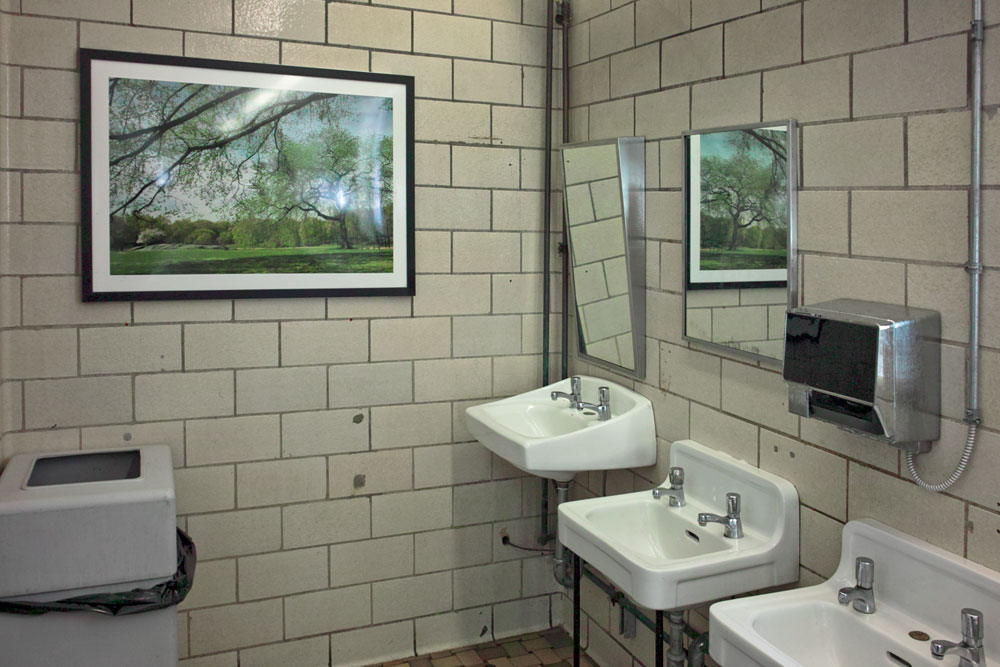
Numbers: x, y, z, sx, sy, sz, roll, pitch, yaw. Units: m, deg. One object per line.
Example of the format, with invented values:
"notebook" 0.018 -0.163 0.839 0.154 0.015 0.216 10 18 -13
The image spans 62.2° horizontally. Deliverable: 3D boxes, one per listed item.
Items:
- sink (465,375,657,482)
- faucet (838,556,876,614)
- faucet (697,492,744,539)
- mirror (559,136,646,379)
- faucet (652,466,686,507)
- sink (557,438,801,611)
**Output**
"sink" 0.249 0.454 3.781 0.639 0.423 0.812 -5 7 -16
"faucet" 1.110 0.793 2.597 0.135 0.166 0.082 -8 11 -25
"faucet" 0.784 0.656 2.959 0.205 0.143 0.072 -1 5 -31
"mirror" 0.485 -0.347 3.677 0.170 1.010 0.497 -8 12 -22
"faucet" 0.616 0.591 3.200 0.178 0.162 0.094 0 0 -3
"sink" 0.622 0.688 3.091 0.692 0.357 0.821 -4 7 -31
